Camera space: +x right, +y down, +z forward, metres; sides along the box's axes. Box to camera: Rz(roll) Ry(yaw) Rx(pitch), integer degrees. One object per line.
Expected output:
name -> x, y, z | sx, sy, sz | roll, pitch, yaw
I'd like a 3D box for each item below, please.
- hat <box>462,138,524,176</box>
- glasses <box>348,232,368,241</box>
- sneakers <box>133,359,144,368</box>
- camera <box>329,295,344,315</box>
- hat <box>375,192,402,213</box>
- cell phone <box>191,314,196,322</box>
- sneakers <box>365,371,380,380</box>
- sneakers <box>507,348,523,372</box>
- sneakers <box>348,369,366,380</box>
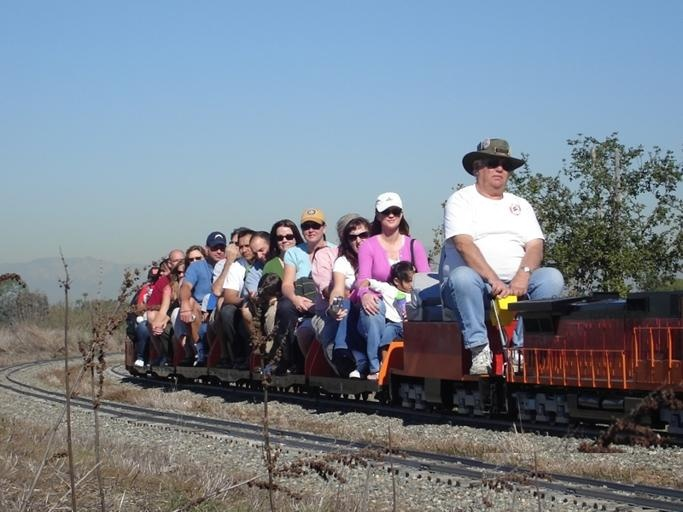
hat -> 2.006, -1.423, 11.064 | 0.722, 0.351, 0.804 | 3, 6, -38
glasses -> 0.236, -0.288, 12.061 | 0.163, 0.057, 0.171 | -12, -13, -6
sneakers -> -4.290, 2.289, 17.538 | 0.155, 0.192, 0.424 | 2, -10, -14
camera -> -0.083, 0.689, 11.503 | 0.210, 0.381, 0.204 | 4, -9, -1
hat -> 0.654, -0.751, 11.696 | 0.329, 0.276, 0.281 | 1, -3, -3
cell phone -> -2.763, 1.168, 15.426 | 0.061, 0.108, 0.064 | 4, 5, -27
sneakers -> 0.415, 1.660, 11.377 | 0.056, 0.113, 0.212 | 3, -3, -40
sneakers -> 2.008, 1.228, 9.692 | 0.160, 0.282, 0.067 | -1, -3, 30
sneakers -> 0.189, 1.692, 11.670 | 0.165, 0.111, 0.108 | 0, 0, 11
